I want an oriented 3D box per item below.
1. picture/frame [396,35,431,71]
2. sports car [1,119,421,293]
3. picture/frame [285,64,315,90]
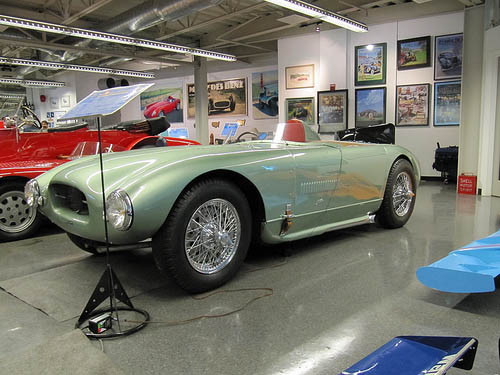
[{"bbox_3d":[3.708,-3.067,8.104,0.918,0.834,0.072,2,3,38],"label":"picture/frame"},{"bbox_3d":[0.030,0.087,3.219,3.032,0.952,1.565,-4,2,-37],"label":"sports car"},{"bbox_3d":[1.361,-2.985,9.592,0.840,0.582,0.029,0,0,38],"label":"picture/frame"}]
